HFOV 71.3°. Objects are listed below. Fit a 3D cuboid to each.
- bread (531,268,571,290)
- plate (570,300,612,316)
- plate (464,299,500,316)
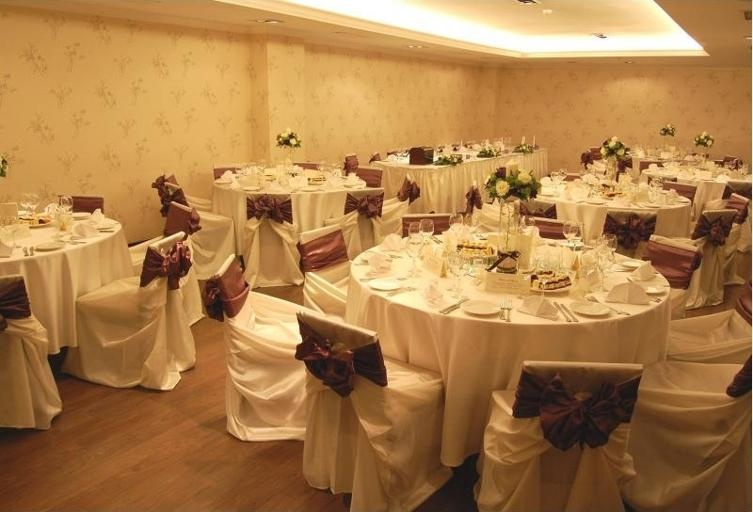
[{"bbox_3d":[1.319,0.176,3.964,0.180,0.056,0.195,9,18,35],"label":"bread"},{"bbox_3d":[1.483,0.363,3.619,0.264,0.061,0.197,6,16,23],"label":"plate"},{"bbox_3d":[0.715,0.363,3.613,0.242,0.057,0.199,12,19,39],"label":"plate"}]
